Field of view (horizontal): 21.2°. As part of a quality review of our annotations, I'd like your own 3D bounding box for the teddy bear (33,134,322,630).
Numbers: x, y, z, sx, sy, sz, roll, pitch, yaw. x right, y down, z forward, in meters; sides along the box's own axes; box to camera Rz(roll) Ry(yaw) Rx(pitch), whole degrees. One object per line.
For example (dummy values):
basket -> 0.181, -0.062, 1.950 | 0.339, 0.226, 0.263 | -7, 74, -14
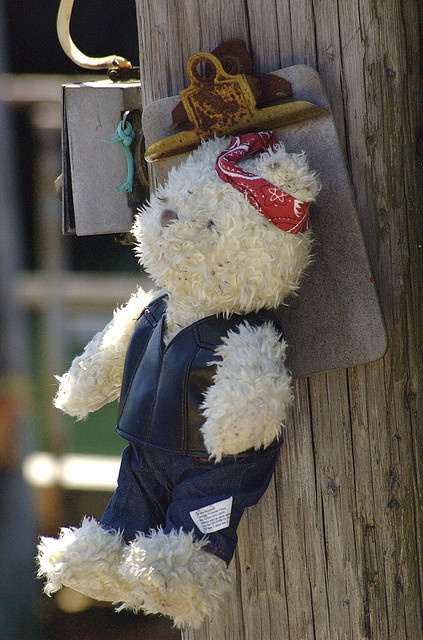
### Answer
teddy bear -> -0.120, 0.326, 2.835 | 0.508, 1.654, 0.962 | 21, 65, 3
